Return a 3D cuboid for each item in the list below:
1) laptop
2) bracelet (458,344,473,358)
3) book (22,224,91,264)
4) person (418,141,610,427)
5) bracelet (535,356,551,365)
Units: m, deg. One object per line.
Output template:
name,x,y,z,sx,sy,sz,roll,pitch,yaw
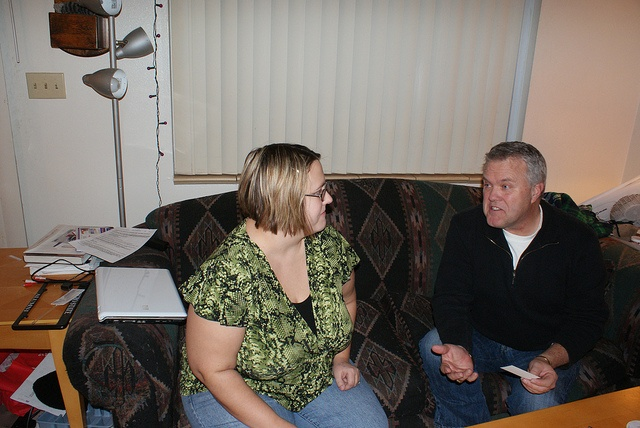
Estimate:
laptop,-0.880,0.387,2.293,0.380,0.173,0.457,-8,17,-23
bracelet,0.728,0.685,2.373,0.062,0.023,0.054,35,9,0
book,-1.420,0.174,2.552,0.223,0.050,0.232,2,28,0
person,0.998,0.357,2.410,0.932,1.383,0.627,2,15,13
bracelet,1.084,0.702,2.281,0.065,0.028,0.035,9,18,34
